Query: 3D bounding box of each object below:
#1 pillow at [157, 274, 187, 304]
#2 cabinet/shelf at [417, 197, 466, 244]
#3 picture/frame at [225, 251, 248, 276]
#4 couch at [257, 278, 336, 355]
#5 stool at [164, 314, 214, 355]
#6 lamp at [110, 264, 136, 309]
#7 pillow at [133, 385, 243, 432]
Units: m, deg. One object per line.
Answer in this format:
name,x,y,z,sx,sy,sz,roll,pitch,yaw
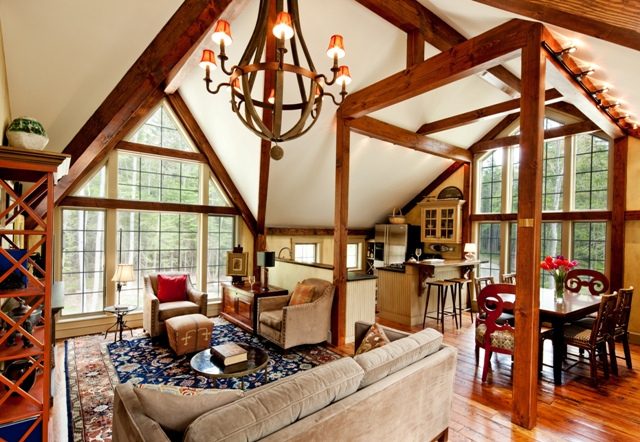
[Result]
pillow,-2.487,1.131,7.327,0.397,0.377,0.141,8,-23,-35
cabinet/shelf,2.608,-0.028,9.378,0.292,0.933,0.970,3,-5,-38
picture/frame,-1.523,0.769,8.040,0.438,0.497,0.051,2,-1,-13
couch,-0.339,1.473,7.030,1.112,1.089,0.971,3,-5,-32
stool,-1.904,1.584,6.457,0.563,0.500,0.555,-1,3,-28
lamp,-3.225,1.039,7.230,0.324,0.677,0.933,-2,-5,-25
pillow,-1.187,1.574,3.785,0.529,0.158,0.456,1,-3,-18
